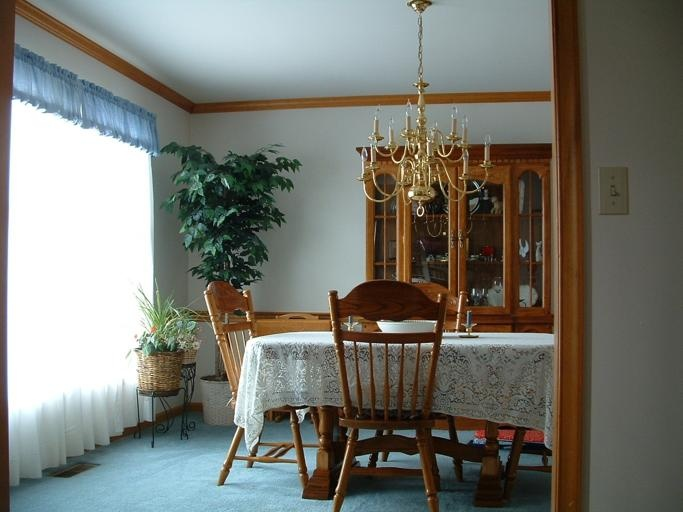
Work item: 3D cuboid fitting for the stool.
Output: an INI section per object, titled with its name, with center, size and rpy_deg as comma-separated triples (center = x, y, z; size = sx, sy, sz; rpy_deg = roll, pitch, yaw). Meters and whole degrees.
[stool]
center = -1.420, 1.201, 4.649
size = 0.542, 0.610, 0.523
rpy_deg = 8, -12, -39

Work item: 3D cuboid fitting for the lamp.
[lamp]
center = 0.677, -1.163, 4.406
size = 1.198, 2.026, 1.125
rpy_deg = -1, -2, -6

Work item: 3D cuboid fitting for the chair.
[chair]
center = 0.164, 0.729, 2.954
size = 1.776, 1.204, 0.891
rpy_deg = -1, -1, 22

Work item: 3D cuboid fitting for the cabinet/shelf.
[cabinet/shelf]
center = 0.966, -0.133, 4.370
size = 1.484, 1.527, 0.428
rpy_deg = 0, -4, 7

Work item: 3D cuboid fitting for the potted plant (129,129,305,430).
[potted plant]
center = -0.986, -0.017, 5.275
size = 1.821, 2.499, 1.520
rpy_deg = -1, -4, -4
